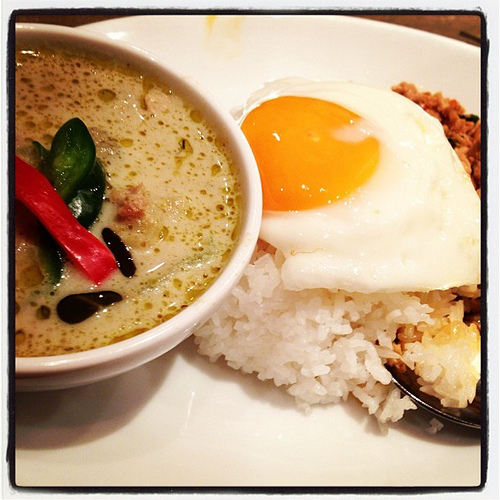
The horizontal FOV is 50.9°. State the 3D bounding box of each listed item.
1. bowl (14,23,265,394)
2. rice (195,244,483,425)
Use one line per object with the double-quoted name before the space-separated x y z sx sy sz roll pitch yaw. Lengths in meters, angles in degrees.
"bowl" -0.238 -0.082 0.976 0.512 0.281 0.679 7 60 -1
"rice" 0.201 0.218 1.227 0.654 0.157 0.317 11 87 4
